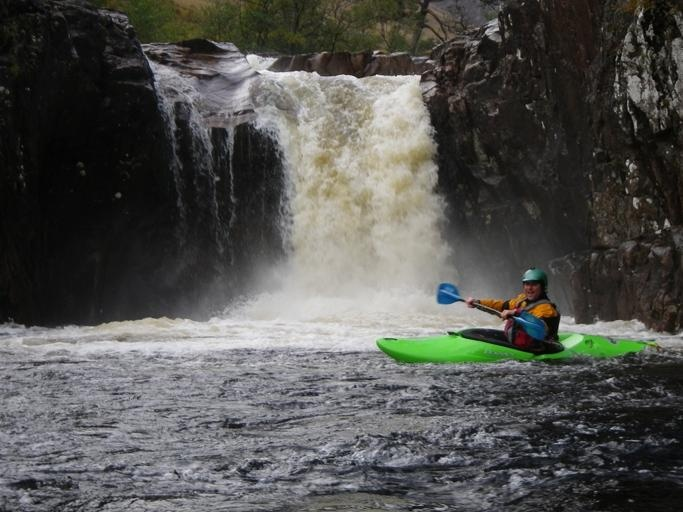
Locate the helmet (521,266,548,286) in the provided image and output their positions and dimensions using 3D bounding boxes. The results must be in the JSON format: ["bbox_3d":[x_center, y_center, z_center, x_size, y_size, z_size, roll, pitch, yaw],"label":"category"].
[{"bbox_3d":[3.090,0.319,17.647,0.299,0.322,0.387,5,16,23],"label":"helmet"}]

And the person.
[{"bbox_3d":[2.853,0.783,17.700,0.664,1.212,1.341,-6,11,-38],"label":"person"}]
